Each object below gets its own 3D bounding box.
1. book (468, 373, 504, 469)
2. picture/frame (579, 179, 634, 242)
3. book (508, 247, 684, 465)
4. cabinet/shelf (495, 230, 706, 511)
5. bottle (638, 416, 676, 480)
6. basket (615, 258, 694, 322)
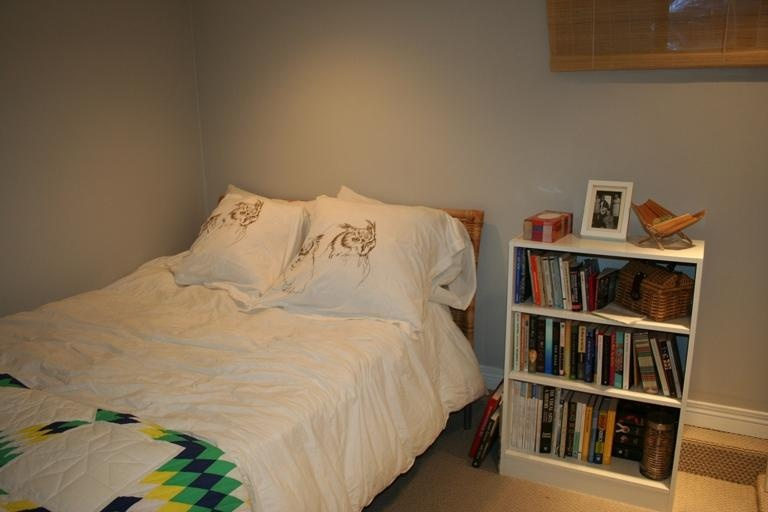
[{"bbox_3d":[0.523,0.949,3.108,0.091,0.402,0.377,14,17,20],"label":"book"},{"bbox_3d":[1.180,-0.234,2.898,0.305,0.420,0.040,9,-2,21],"label":"picture/frame"},{"bbox_3d":[1.110,0.500,2.836,0.971,1.243,0.406,7,5,16],"label":"book"},{"bbox_3d":[1.118,0.616,2.849,1.117,1.678,0.573,7,17,24],"label":"cabinet/shelf"},{"bbox_3d":[1.380,0.967,2.776,0.151,0.344,0.094,9,12,26],"label":"bottle"},{"bbox_3d":[1.384,0.159,2.832,0.280,0.241,0.329,-5,19,-11],"label":"basket"}]
